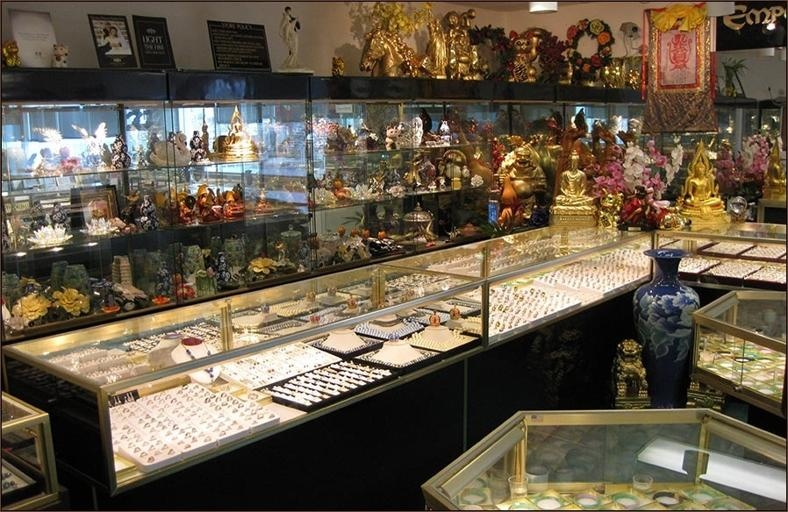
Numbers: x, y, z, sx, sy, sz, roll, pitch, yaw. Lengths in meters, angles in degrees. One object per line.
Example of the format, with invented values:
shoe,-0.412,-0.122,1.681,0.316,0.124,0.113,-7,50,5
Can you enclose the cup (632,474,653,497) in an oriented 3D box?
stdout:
cup,1.050,0.979,2.337,0.086,0.059,0.076,7,-6,-43

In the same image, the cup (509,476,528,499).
cup,0.520,0.972,2.290,0.082,0.065,0.084,-1,-6,0

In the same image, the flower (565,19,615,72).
flower,2.496,-2.651,6.904,0.718,0.650,0.220,20,13,33

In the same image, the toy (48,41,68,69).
toy,-2.177,-1.297,3.567,0.104,0.177,0.269,-11,13,-28

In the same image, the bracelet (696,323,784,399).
bracelet,1.952,0.586,3.167,0.114,0.298,0.608,-8,11,-15
